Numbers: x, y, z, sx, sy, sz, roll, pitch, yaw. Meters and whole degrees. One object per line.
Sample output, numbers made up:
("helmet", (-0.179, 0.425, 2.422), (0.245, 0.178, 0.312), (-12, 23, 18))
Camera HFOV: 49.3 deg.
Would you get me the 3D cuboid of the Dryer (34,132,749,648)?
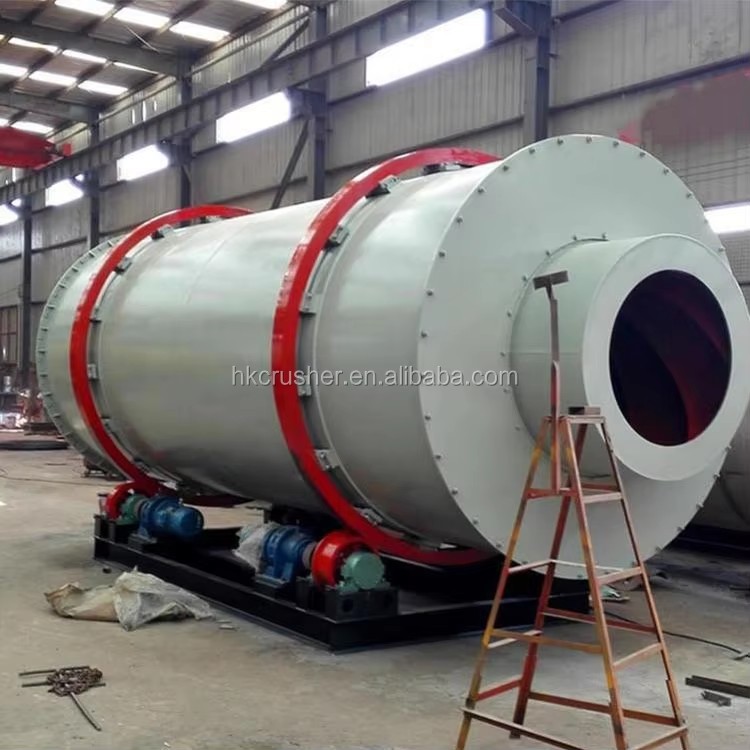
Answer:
("Dryer", (-0.173, 0.149, 5.139), (2.511, 2.185, 4.411), (1, -2, -33))
